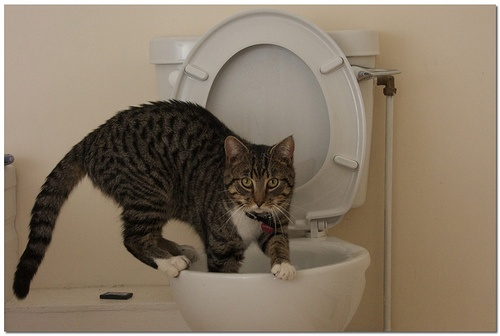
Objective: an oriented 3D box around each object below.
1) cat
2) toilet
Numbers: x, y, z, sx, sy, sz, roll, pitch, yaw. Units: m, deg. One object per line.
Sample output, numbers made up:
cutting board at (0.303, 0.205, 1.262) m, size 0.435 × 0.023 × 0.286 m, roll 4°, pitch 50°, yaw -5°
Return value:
cat at (-0.350, 0.108, 1.870) m, size 1.024 × 0.746 × 0.316 m, roll -1°, pitch 2°, yaw 12°
toilet at (0.168, -0.087, 2.069) m, size 0.819 × 1.318 × 1.215 m, roll -2°, pitch 24°, yaw 1°
